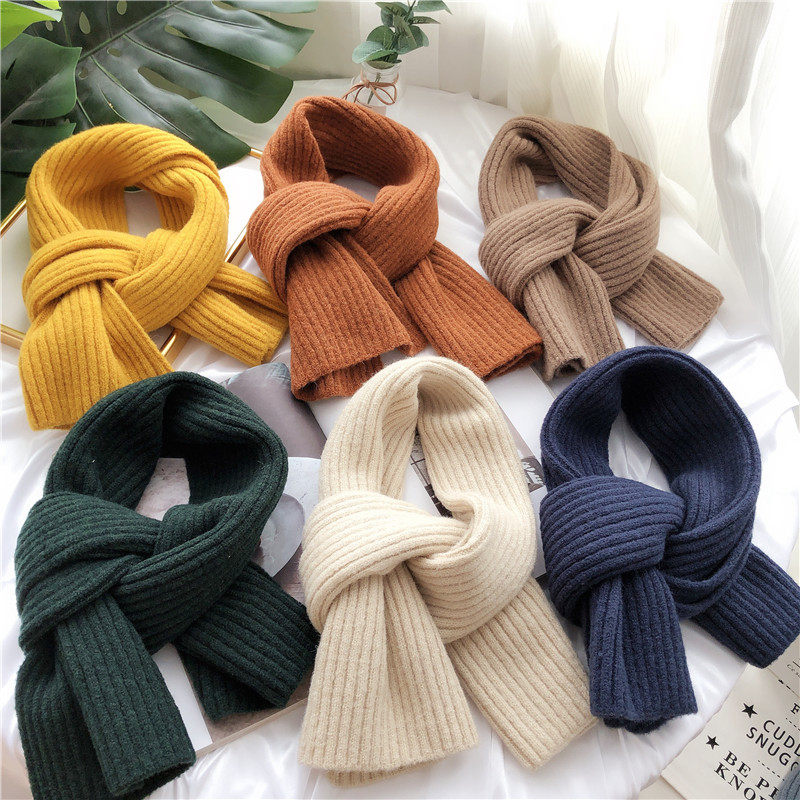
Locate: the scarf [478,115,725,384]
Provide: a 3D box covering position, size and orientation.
[{"bbox_3d":[0.255,-0.263,1.167,0.368,0.112,0.428,-16,62,-6],"label":"scarf"}]

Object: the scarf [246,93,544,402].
[{"bbox_3d":[-0.057,-0.191,1.208,0.433,0.142,0.474,-13,65,-13],"label":"scarf"}]
